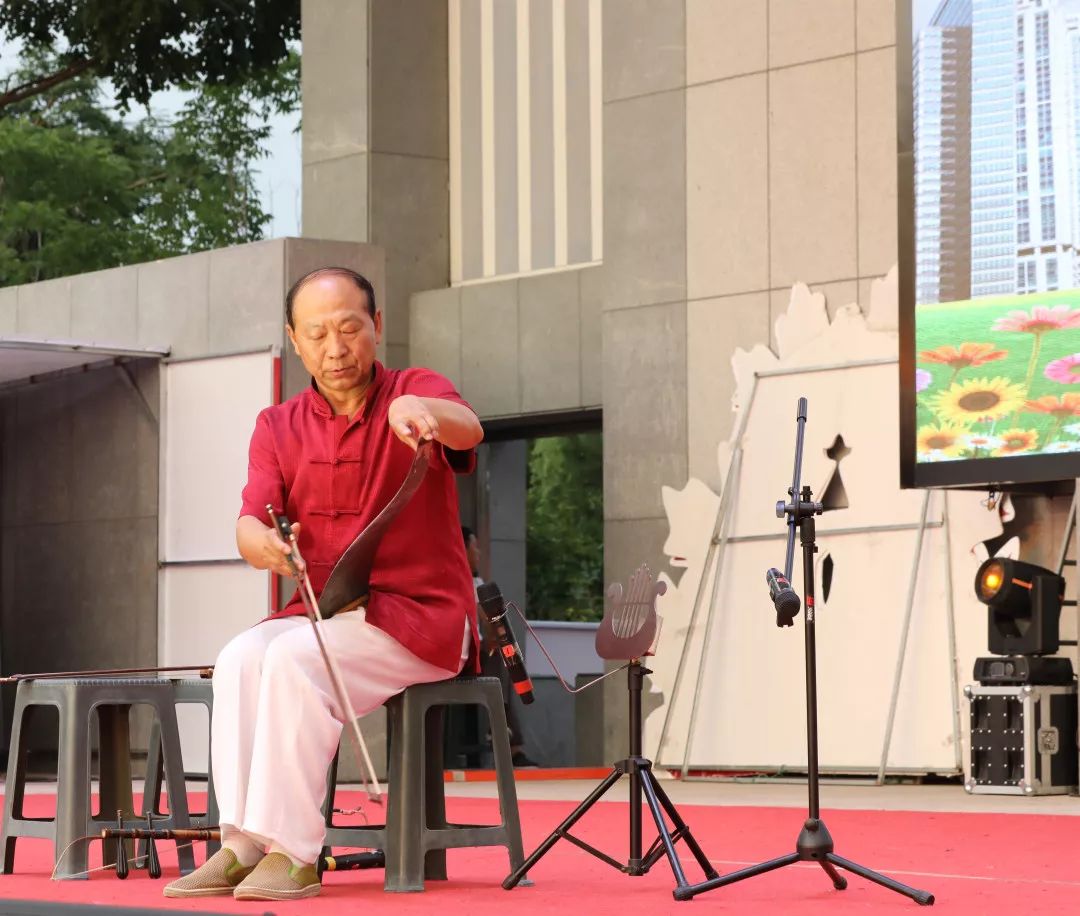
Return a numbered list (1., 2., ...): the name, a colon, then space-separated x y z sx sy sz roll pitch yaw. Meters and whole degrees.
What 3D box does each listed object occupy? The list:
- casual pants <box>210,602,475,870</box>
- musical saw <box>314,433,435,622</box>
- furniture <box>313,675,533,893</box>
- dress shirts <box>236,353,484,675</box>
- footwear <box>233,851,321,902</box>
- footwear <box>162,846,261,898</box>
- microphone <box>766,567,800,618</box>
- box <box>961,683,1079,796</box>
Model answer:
1. casual pants: -0.865 1.009 8.209 0.749 0.721 0.783 0 -11 -12
2. musical saw: -0.595 0.272 8.147 0.111 0.676 0.118 24 0 36
3. furniture: -0.487 1.218 8.474 0.712 0.833 0.730 0 -6 -20
4. dress shirts: -0.658 0.257 8.375 0.897 1.220 0.619 -10 -6 1
5. footwear: -0.923 1.466 7.824 0.139 0.126 0.275 -11 -16 38
6. footwear: -1.162 1.484 7.930 0.346 0.161 0.132 3 -8 -31
7. microphone: 0.895 0.503 8.070 0.114 0.200 0.422 0 -4 6
8. box: 2.514 1.453 11.476 0.531 0.584 0.543 -4 -8 38
